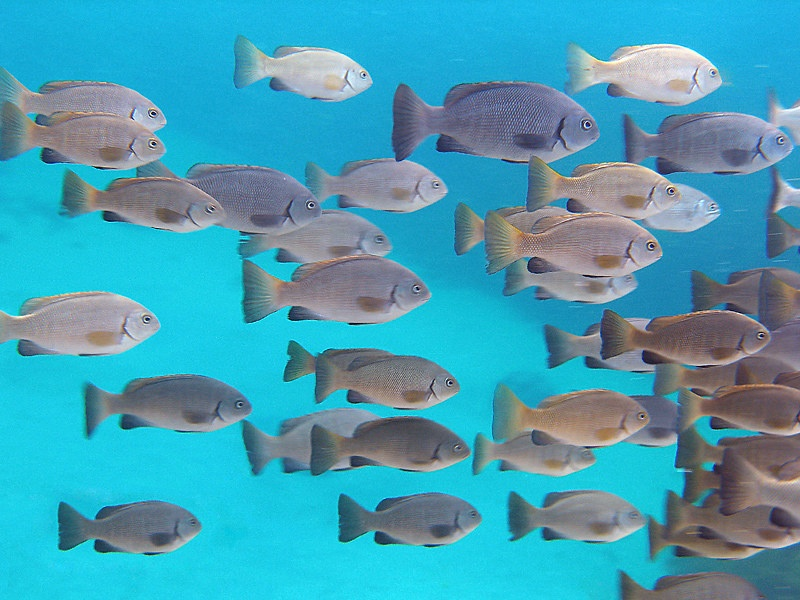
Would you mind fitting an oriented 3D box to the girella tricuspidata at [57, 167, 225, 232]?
[{"bbox_3d":[-1.815,-0.694,7.489,1.140,0.376,0.294,0,-39,-3],"label":"girella tricuspidata"}]

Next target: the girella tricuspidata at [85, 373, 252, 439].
[{"bbox_3d":[-1.689,0.750,7.636,1.169,0.361,0.300,-3,-38,2],"label":"girella tricuspidata"}]
